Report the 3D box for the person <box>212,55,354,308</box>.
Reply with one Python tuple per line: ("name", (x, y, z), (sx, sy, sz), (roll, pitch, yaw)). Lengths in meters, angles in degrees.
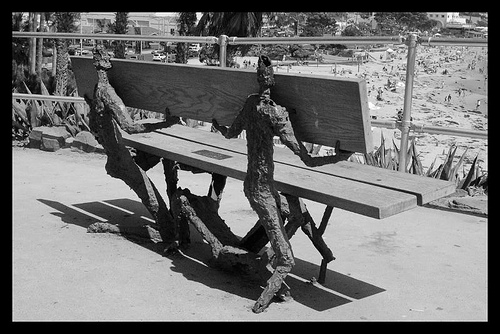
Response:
("person", (0.135, 0.061, 3.169), (0.775, 1.594, 0.826), (1, 14, -7))
